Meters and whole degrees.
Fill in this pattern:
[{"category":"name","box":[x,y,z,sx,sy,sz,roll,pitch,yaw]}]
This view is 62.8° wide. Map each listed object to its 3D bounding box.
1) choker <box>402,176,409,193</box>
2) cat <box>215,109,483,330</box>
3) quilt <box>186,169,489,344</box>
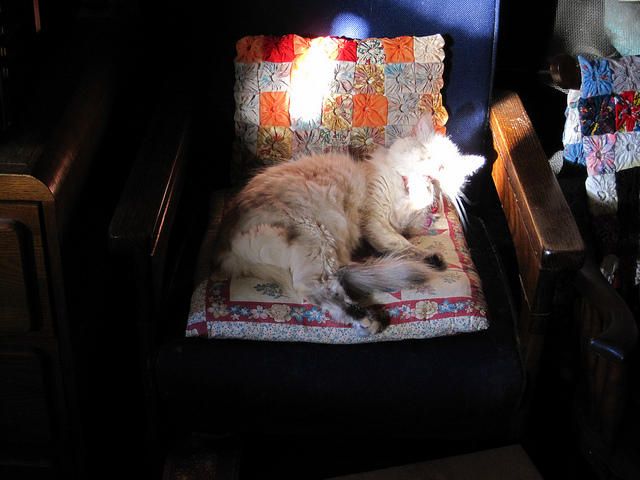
[{"category":"choker","box":[0.190,-0.124,1.177,0.018,0.027,0.008,-12,-1,12]},{"category":"cat","box":[0.118,-0.052,1.178,0.687,0.231,0.461,-22,37,-32]},{"category":"quilt","box":[0.138,0.042,1.244,0.469,0.121,0.557,-1,34,13]}]
